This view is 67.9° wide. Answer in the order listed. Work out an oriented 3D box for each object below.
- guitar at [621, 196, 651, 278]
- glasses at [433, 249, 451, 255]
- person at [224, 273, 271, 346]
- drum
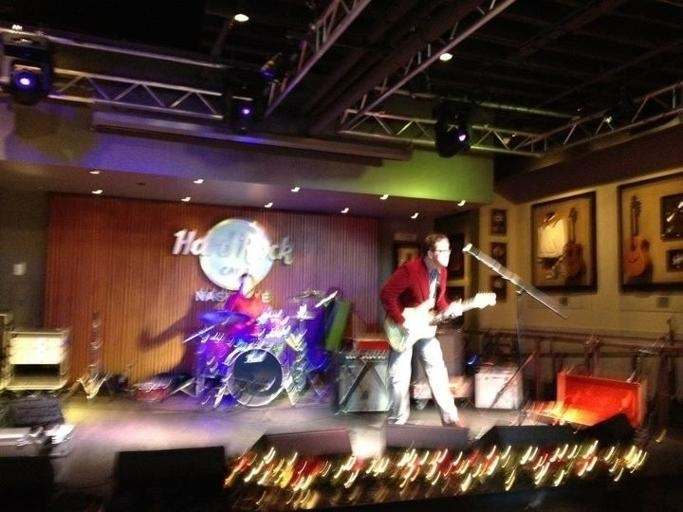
[{"bbox_3d":[4.473,-0.255,7.753,0.119,1.351,0.436,3,-5,-24],"label":"guitar"},{"bbox_3d":[0.956,-0.032,4.852,0.126,0.055,0.030,2,-5,-15],"label":"glasses"},{"bbox_3d":[-1.550,0.872,8.134,0.702,0.893,1.352,11,5,-3],"label":"person"},{"bbox_3d":[-1.155,1.579,6.814,0.888,0.850,0.549,-3,10,1],"label":"drum"}]
